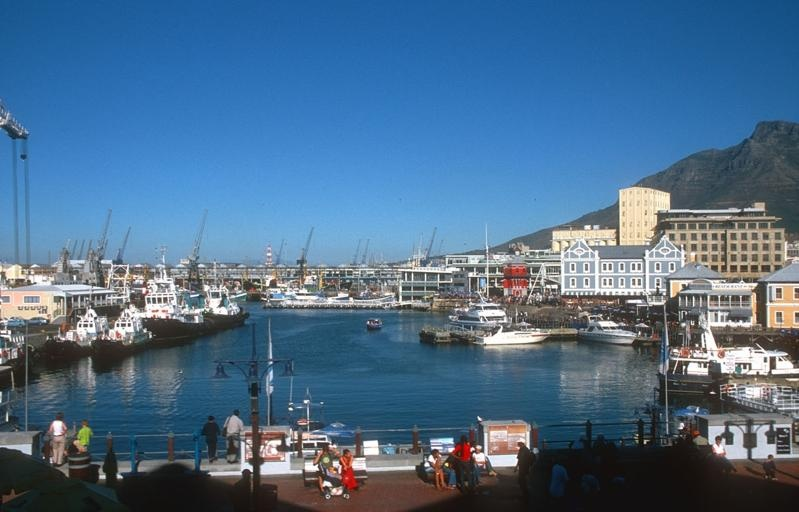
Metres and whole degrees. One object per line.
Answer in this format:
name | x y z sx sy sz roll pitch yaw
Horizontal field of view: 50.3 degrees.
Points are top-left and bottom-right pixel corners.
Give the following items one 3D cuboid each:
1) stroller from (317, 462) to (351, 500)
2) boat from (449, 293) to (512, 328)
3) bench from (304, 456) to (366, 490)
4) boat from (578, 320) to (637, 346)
stroller | -2.742 9.490 35.906 1.366 1.480 1.154 2 -6 -16
boat | 8.721 6.219 91.216 2.936 3.268 8.022 1 -4 -23
bench | -3.041 8.963 36.643 2.562 1.028 1.095 1 -1 -6
boat | 20.342 7.458 82.409 1.702 2.737 6.560 7 -11 -25
